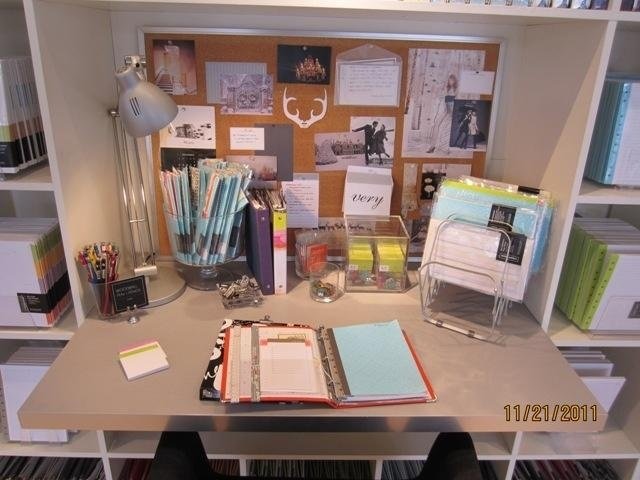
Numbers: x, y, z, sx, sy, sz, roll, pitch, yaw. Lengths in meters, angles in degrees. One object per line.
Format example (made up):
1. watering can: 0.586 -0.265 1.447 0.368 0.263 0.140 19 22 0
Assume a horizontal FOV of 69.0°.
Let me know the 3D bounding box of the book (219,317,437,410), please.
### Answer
1. book: 0.006 0.385 1.463 0.649 0.108 0.390 3 24 -7

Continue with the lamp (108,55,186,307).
1. lamp: -0.628 -0.245 1.758 0.299 0.938 0.230 -16 31 -42

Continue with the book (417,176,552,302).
1. book: 0.580 -0.041 1.679 0.404 0.440 0.154 14 4 21

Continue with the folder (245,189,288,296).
1. folder: -0.167 0.015 1.781 0.137 0.421 0.212 2 18 -1

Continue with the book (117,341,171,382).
1. book: -0.540 0.381 1.437 0.139 0.037 0.113 -10 22 -31

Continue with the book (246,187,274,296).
1. book: -0.255 0.014 1.845 0.073 0.316 0.343 -4 15 -19

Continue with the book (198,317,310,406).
1. book: -0.197 0.379 1.414 0.341 0.066 0.419 -1 21 -10

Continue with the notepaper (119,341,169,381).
1. notepaper: -0.542 0.379 1.438 0.143 0.039 0.169 -1 20 -11
